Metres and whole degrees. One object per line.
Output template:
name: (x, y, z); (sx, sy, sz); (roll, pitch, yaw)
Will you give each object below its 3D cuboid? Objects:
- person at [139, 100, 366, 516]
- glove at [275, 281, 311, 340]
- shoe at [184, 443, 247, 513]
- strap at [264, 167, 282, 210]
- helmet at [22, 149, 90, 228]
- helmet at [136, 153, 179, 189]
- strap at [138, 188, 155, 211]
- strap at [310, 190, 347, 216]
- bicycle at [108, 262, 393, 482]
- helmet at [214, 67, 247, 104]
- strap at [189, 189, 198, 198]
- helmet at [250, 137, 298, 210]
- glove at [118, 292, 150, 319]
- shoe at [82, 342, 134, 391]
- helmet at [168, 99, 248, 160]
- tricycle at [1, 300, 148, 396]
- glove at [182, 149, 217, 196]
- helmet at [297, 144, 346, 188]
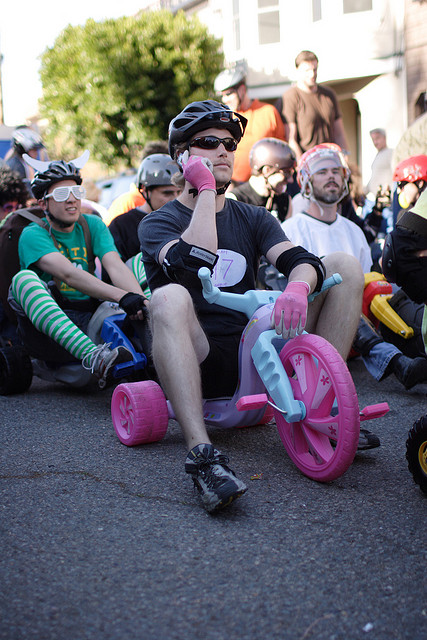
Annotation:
person: (0.109, -0.104, 2.183); (0.823, 1.277, 0.939); (-9, 19, -26)
glove: (0.253, -0.036, 1.939); (0.092, 0.104, 0.182); (3, 54, 5)
shoe: (-0.005, 0.433, 1.728); (0.099, 0.116, 0.239); (-34, 9, -7)
strap: (0.496, -1.131, 5.325); (0.159, 0.434, 0.332); (5, 20, 13)
helmet: (-0.912, -0.838, 3.596); (0.197, 0.352, 0.361); (33, 33, 30)
helmet: (-0.388, -1.055, 4.244); (0.254, 0.276, 0.327); (-3, 4, -17)
strap: (-0.464, -0.850, 4.271); (0.034, 0.141, 0.103); (-31, -7, -5)
strap: (0.736, -0.768, 4.055); (0.177, 0.135, 0.111); (-1, 4, 10)
bicycle: (0.142, 0.127, 2.139); (0.643, 0.599, 0.961); (-4, 6, -37)
helmet: (0.208, -2.884, 7.467); (0.357, 0.532, 0.452); (-1, 4, 6)
strap: (-0.072, -0.476, 2.268); (0.008, 0.026, 0.026); (-5, -24, -26)
helmet: (0.539, -1.304, 5.371); (0.409, 0.661, 0.322); (-2, 4, 0)
glove: (-0.361, -0.069, 2.813); (0.165, 0.064, 0.125); (7, -16, 41)
shoe: (-0.553, 0.229, 3.146); (0.159, 0.164, 0.346); (28, -31, -14)
helmet: (-0.029, -0.753, 2.254); (0.186, 0.132, 0.258); (-1, -21, -42)
tricycle: (-0.810, 0.196, 3.453); (0.872, 0.414, 0.549); (-4, 1, 26)
glove: (-0.070, -0.527, 2.165); (0.069, 0.095, 0.169); (10, 33, -31)
helmet: (0.754, -1.054, 4.147); (0.262, 0.292, 0.337); (20, 3, 10)
